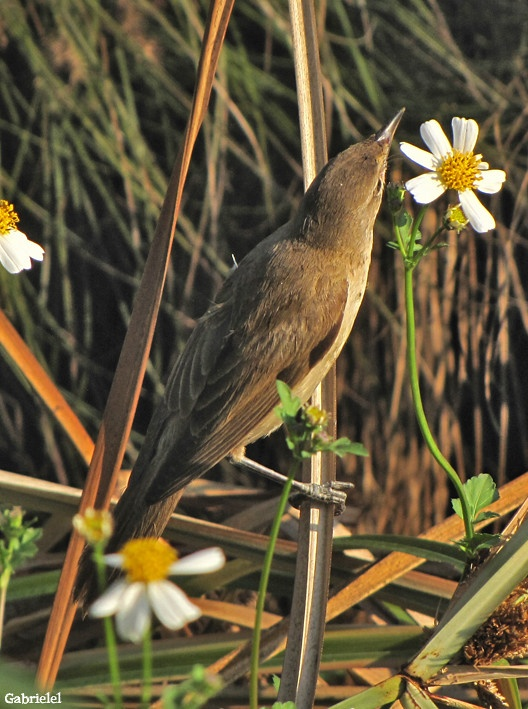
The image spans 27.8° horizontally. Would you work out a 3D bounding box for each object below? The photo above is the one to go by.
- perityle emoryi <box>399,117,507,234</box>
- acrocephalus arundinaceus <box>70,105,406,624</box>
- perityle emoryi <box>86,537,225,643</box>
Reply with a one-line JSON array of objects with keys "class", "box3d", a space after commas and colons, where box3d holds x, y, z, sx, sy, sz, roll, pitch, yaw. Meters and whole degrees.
[{"class": "perityle emoryi", "box3d": [0.565, -0.541, 3.116, 0.292, 0.447, 0.367, 12, -67, 24]}, {"class": "acrocephalus arundinaceus", "box3d": [-0.096, -0.006, 3.906, 0.557, 1.972, 1.121, 36, -14, 39]}, {"class": "perityle emoryi", "box3d": [-0.230, 0.512, 2.380, 0.232, 0.287, 0.261, 0, -74, -1]}]
